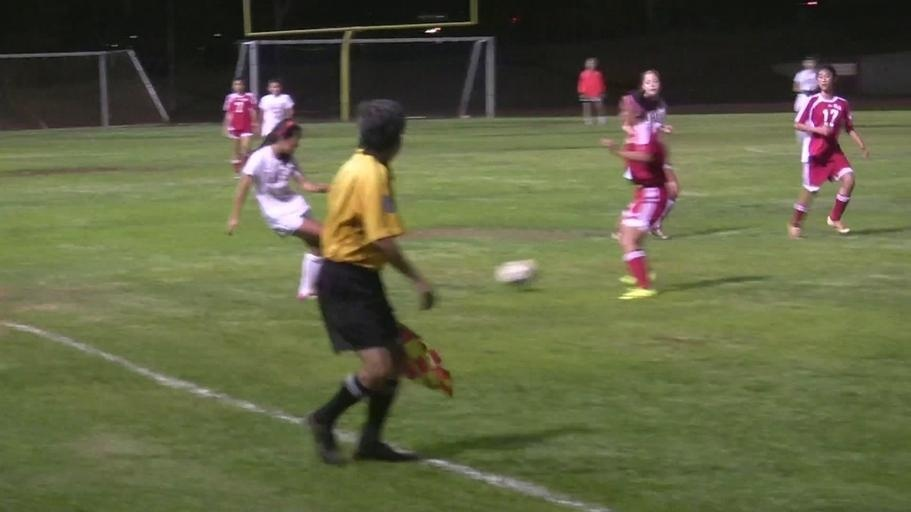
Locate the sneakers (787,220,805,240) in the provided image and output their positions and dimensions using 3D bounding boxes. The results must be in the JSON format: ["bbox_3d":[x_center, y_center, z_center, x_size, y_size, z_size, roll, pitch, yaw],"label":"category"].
[{"bbox_3d":[5.318,-0.365,14.471,0.288,0.243,0.294,2,7,37],"label":"sneakers"}]

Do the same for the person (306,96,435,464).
[{"bbox_3d":[-0.763,0.266,7.805,0.990,3.105,0.416,-3,9,-7],"label":"person"}]

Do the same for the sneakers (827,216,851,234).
[{"bbox_3d":[6.145,-0.498,14.992,0.212,0.182,0.545,-13,23,-38],"label":"sneakers"}]

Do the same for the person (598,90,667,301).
[{"bbox_3d":[2.300,-0.761,11.750,0.730,2.516,0.961,0,9,12],"label":"person"}]

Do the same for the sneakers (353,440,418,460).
[{"bbox_3d":[-0.635,1.725,8.172,0.659,0.198,0.186,-2,-2,-2],"label":"sneakers"}]
